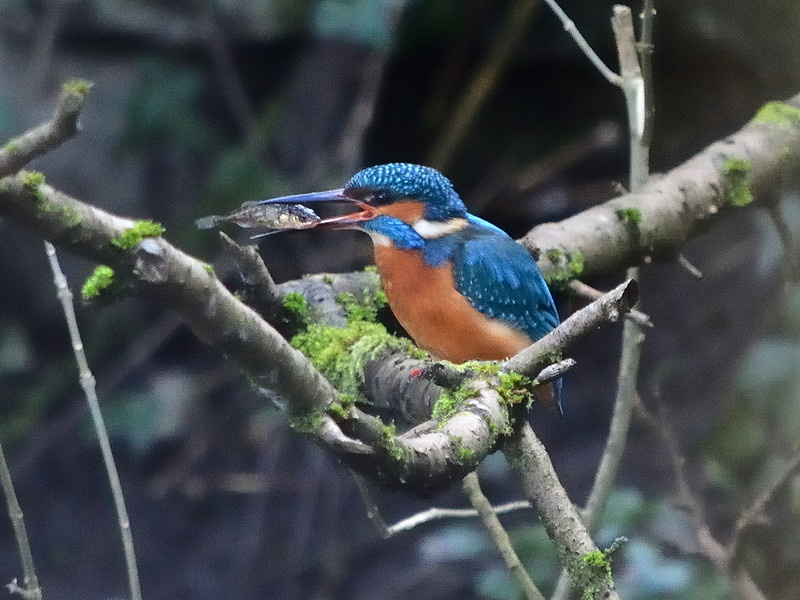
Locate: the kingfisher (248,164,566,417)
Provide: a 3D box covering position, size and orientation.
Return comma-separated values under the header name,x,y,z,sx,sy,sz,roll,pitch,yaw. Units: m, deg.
name,x,y,z,sx,sy,sz,roll,pitch,yaw
kingfisher,0.122,-0.056,3.026,0.714,0.350,0.578,-15,109,-37
